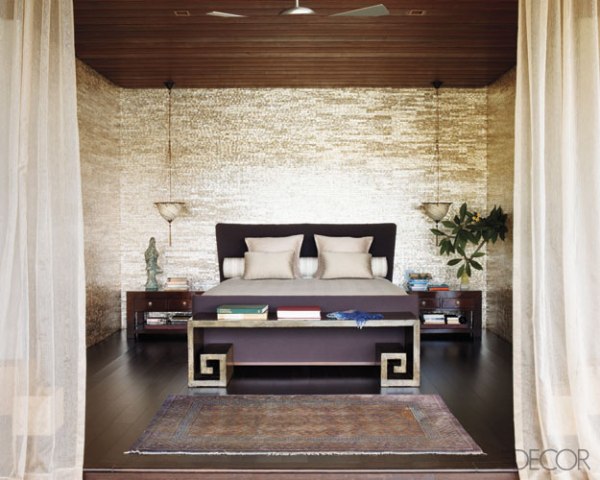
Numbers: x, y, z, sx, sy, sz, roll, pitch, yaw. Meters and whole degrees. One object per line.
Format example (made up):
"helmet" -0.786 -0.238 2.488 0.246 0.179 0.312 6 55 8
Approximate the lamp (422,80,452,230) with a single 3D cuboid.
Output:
"lamp" 1.616 -1.007 6.559 0.327 1.701 0.486 1 6 12

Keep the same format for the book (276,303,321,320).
"book" -0.013 0.617 4.647 0.362 0.087 0.197 0 5 -2

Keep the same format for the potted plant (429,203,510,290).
"potted plant" 1.928 0.045 6.505 0.953 0.944 0.800 1 5 13

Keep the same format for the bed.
"bed" 0.032 0.502 5.564 2.165 1.227 2.382 0 5 2

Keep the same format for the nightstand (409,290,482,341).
"nightstand" 1.650 0.845 6.396 0.829 0.512 0.484 0 -1 -2

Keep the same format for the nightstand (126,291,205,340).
"nightstand" -1.497 0.871 6.412 0.919 0.530 0.504 -1 -6 0

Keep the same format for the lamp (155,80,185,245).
"lamp" -1.557 -0.869 6.560 0.393 1.950 0.526 -2 6 -13

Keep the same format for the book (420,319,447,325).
"book" 1.522 0.934 6.255 0.197 0.042 0.192 -1 -5 2

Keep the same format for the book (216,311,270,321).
"book" -0.483 0.648 4.610 0.414 0.051 0.142 -1 5 -4
